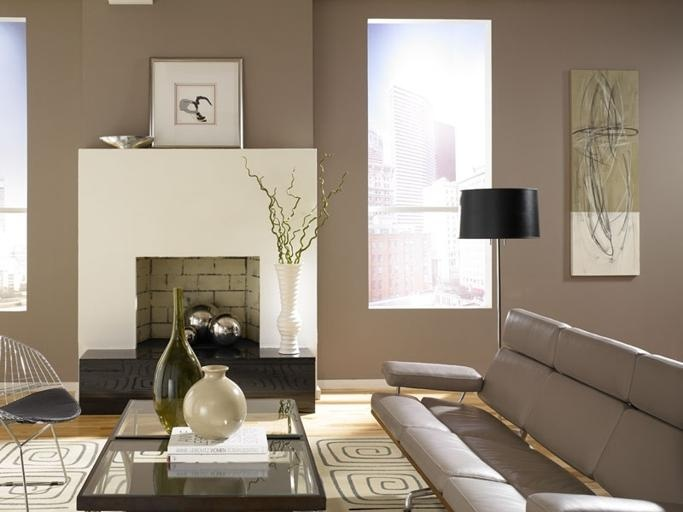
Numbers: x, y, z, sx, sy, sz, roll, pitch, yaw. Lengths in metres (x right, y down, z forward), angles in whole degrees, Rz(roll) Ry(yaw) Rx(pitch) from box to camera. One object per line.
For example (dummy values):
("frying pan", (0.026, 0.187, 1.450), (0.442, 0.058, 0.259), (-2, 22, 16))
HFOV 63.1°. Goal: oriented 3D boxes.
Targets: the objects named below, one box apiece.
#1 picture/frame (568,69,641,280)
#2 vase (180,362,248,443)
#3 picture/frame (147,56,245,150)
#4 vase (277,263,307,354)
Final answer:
("picture/frame", (2.601, -0.820, 5.515), (0.669, 2.011, 0.270), (0, 7, -7))
("vase", (-0.686, 0.800, 2.999), (0.348, 0.414, 0.363), (1, -1, -23))
("picture/frame", (-1.391, -1.420, 5.174), (0.934, 0.866, 0.072), (0, -3, -5))
("vase", (-0.457, 0.469, 4.890), (0.203, 0.801, 0.190), (-3, 8, -27))
